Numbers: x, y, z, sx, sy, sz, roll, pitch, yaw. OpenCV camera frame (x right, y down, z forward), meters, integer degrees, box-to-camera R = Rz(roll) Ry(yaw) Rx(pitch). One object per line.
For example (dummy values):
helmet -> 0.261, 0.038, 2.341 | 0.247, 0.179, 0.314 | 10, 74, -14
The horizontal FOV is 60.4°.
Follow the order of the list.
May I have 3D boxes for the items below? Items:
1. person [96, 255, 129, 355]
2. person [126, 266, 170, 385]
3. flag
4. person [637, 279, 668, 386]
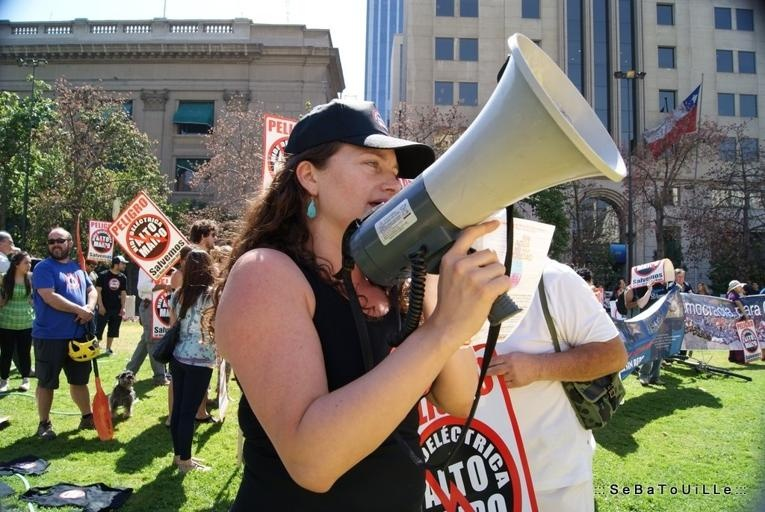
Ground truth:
person -> -7.762, 1.477, 18.816 | 0.731, 2.987, 0.723 | 5, 7, -23
person -> -5.863, 1.799, 16.098 | 0.958, 3.370, 1.165 | 0, -3, 4
flag -> 13.809, -6.224, 31.159 | 0.746, 2.964, 2.601 | 2, -2, -33
person -> 7.314, 2.506, 17.863 | 0.855, 3.564, 0.998 | 0, -1, -7
